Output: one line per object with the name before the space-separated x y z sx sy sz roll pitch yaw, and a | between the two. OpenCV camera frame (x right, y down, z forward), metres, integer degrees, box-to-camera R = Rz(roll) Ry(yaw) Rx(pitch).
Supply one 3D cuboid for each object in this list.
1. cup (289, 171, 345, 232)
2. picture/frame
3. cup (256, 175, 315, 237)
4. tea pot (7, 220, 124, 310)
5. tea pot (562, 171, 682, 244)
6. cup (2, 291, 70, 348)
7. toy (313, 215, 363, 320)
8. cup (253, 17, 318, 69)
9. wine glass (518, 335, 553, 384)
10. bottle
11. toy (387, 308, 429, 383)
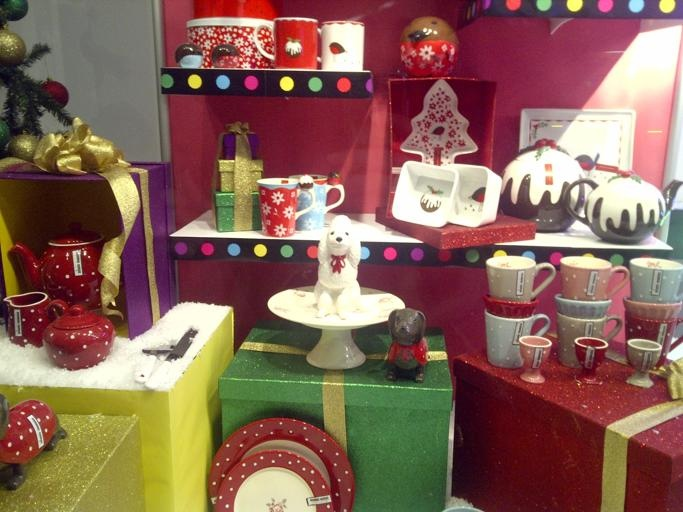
cup | -0.078 -0.149 1.704 0.185 0.178 0.122 -2 8 -38
picture/frame | 0.769 -0.355 1.874 0.291 0.209 0.071 -1 7 -1
cup | -0.159 -0.137 1.592 0.138 0.158 0.112 7 16 25
tea pot | -0.740 0.043 1.542 0.248 0.234 0.196 -6 18 -27
tea pot | 0.755 -0.124 1.512 0.305 0.209 0.191 -1 3 4
cup | -0.789 0.162 1.446 0.174 0.130 0.110 4 3 -26
toy | -0.007 0.028 1.464 0.119 0.245 0.090 0 14 -1
cup | -0.132 -0.560 1.531 0.179 0.129 0.114 1 10 6
wine glass | 0.490 0.267 1.447 0.077 0.099 0.077 4 9 25
bottle | -0.638 0.198 1.379 0.157 0.143 0.078 -6 15 -22
toy | 0.172 0.230 1.482 0.106 0.193 0.191 3 2 14
